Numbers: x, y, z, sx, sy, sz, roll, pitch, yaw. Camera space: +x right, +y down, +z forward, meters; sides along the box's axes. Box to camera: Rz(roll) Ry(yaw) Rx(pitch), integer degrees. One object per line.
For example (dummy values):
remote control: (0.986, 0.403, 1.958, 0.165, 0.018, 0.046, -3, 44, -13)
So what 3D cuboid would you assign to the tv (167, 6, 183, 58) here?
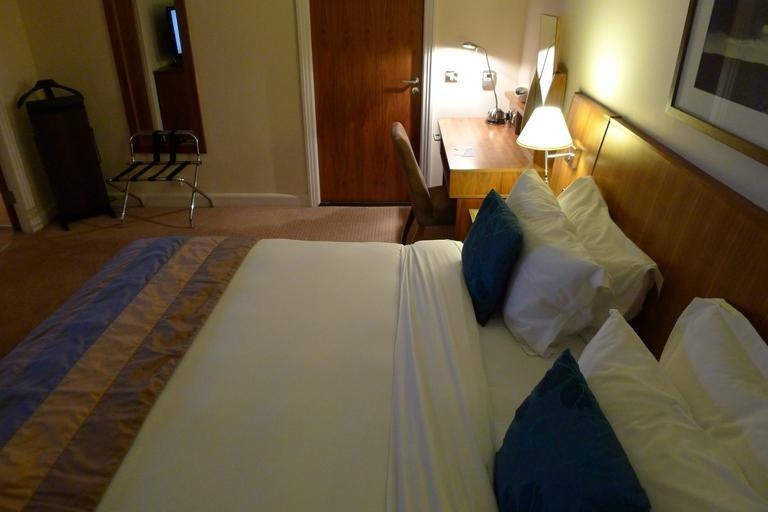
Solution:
tv: (-1.895, -2.052, 4.500, 0.117, 0.425, 0.029, 4, 24, 15)

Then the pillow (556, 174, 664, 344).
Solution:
pillow: (1.078, 0.036, 2.330, 0.340, 0.309, 0.746, -42, 18, 27)

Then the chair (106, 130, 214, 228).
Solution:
chair: (-2.090, -0.802, 4.800, 0.852, 0.678, 0.878, -14, -11, 31)

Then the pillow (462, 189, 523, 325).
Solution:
pillow: (0.582, -0.040, 2.773, 0.267, 0.538, 0.763, 0, 23, 4)

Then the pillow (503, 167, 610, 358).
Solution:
pillow: (0.915, -0.018, 2.679, 0.483, 0.466, 1.172, -6, 28, 11)
